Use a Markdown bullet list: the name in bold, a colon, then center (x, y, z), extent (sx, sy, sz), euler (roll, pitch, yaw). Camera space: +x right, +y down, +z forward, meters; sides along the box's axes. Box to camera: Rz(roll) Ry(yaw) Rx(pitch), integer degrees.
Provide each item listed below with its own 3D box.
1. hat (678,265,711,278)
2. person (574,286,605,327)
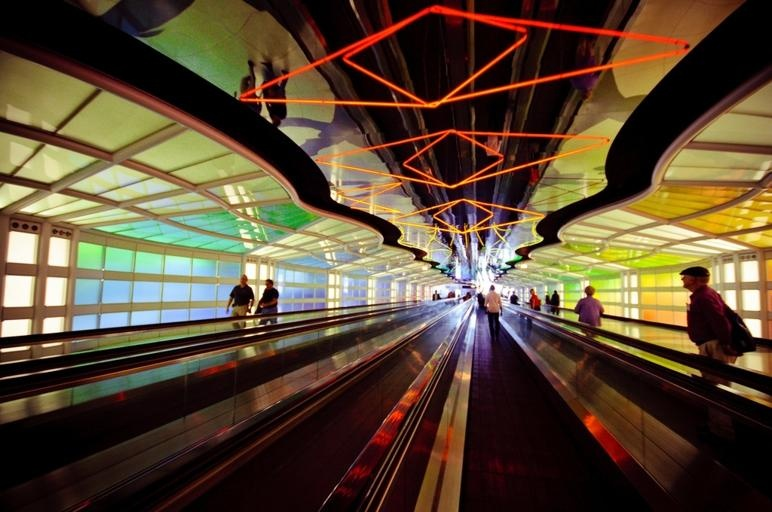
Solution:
- **hat**: center (6.054, 0.312, 8.397), extent (0.484, 0.104, 0.362), euler (3, -9, 9)
- **person**: center (5.880, 1.452, 12.453), extent (0.694, 1.155, 1.088), euler (-13, -12, 19)
